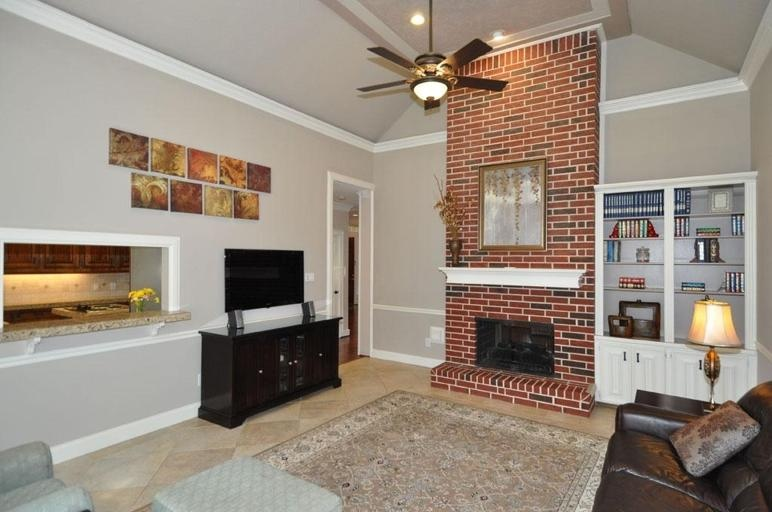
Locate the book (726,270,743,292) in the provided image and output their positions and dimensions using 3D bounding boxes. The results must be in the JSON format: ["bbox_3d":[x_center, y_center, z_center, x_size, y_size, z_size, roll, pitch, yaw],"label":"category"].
[{"bbox_3d":[4.063,0.276,5.785,0.238,0.288,0.206,2,0,27],"label":"book"}]

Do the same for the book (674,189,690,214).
[{"bbox_3d":[3.546,-0.657,5.931,0.178,0.310,0.110,6,15,22],"label":"book"}]

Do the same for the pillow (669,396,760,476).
[{"bbox_3d":[2.759,1.524,4.184,0.563,0.171,0.558,-40,11,-1],"label":"pillow"}]

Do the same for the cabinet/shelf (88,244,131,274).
[{"bbox_3d":[-4.286,0.049,7.693,0.603,0.449,0.362,-10,17,-35],"label":"cabinet/shelf"}]

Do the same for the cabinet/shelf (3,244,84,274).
[{"bbox_3d":[-4.849,0.030,7.056,0.946,0.495,0.228,-13,19,-42],"label":"cabinet/shelf"}]

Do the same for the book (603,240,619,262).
[{"bbox_3d":[2.878,-0.071,6.326,0.149,0.260,0.272,0,-2,42],"label":"book"}]

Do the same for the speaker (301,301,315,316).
[{"bbox_3d":[-1.061,0.746,6.991,0.166,0.236,0.245,-6,-7,7],"label":"speaker"}]

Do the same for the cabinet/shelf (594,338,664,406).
[{"bbox_3d":[2.975,1.371,5.986,0.871,0.872,0.339,0,-1,30],"label":"cabinet/shelf"}]

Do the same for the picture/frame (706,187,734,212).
[{"bbox_3d":[3.958,-0.681,5.852,0.287,0.290,0.076,2,4,34],"label":"picture/frame"}]

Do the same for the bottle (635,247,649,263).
[{"bbox_3d":[3.245,-0.024,6.260,0.181,0.237,0.056,2,2,31],"label":"bottle"}]

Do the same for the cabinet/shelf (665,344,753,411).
[{"bbox_3d":[3.590,1.318,5.443,0.805,0.743,0.314,-2,-6,35],"label":"cabinet/shelf"}]

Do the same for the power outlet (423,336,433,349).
[{"bbox_3d":[0.672,1.327,7.731,0.142,0.174,0.032,9,17,30],"label":"power outlet"}]

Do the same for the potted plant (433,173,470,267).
[{"bbox_3d":[0.938,-0.493,7.334,0.346,1.126,0.842,-4,15,-17],"label":"potted plant"}]

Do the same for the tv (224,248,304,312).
[{"bbox_3d":[-1.624,0.295,6.457,0.095,0.615,0.891,-1,0,43],"label":"tv"}]

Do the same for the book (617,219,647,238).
[{"bbox_3d":[3.091,-0.354,6.213,0.377,0.269,0.211,-3,-7,32],"label":"book"}]

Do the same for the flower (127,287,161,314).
[{"bbox_3d":[-2.843,0.510,5.864,0.441,0.437,0.434,0,-4,-25],"label":"flower"}]
